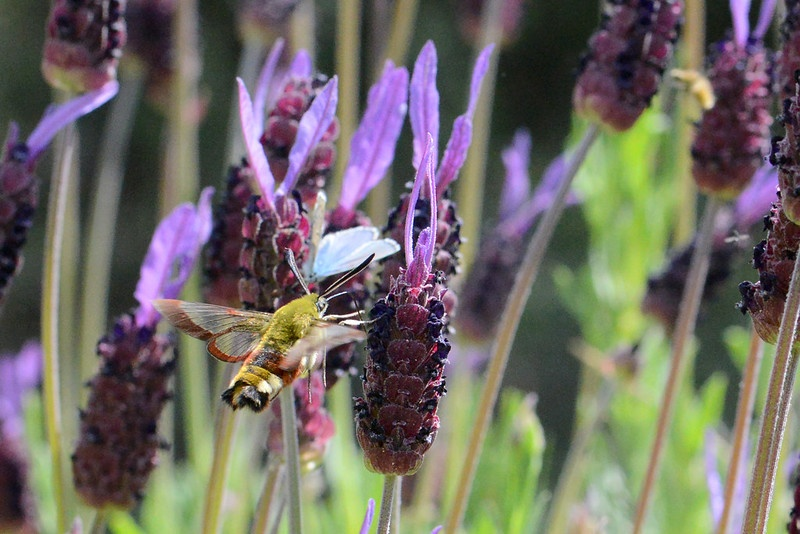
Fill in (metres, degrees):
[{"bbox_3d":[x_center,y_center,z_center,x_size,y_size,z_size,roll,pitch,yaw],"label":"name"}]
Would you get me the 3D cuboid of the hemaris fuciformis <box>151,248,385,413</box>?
[{"bbox_3d":[-0.186,0.101,1.760,0.308,0.136,0.221,-2,24,47],"label":"hemaris fuciformis"}]
